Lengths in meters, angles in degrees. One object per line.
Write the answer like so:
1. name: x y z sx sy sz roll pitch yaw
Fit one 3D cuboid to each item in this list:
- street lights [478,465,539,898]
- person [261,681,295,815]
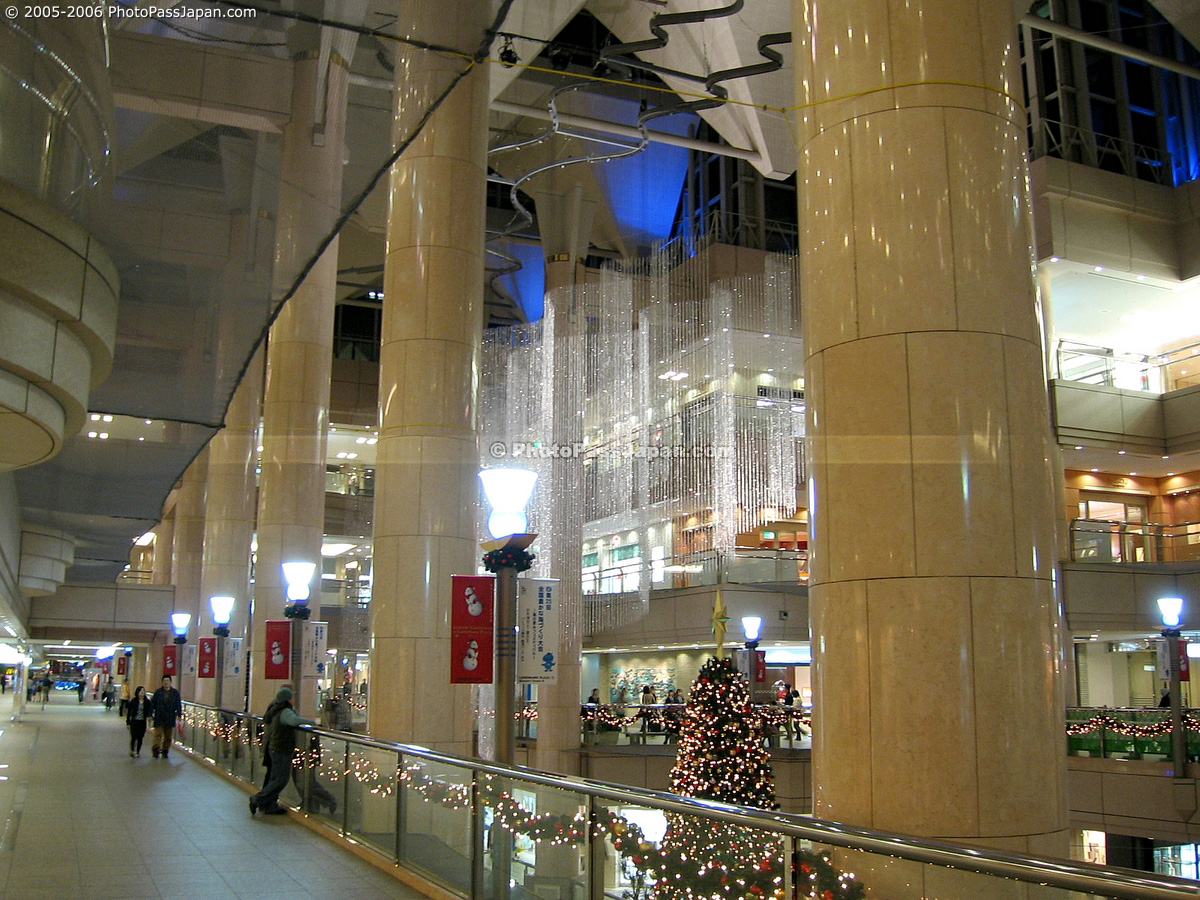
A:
1. street lights: -0.710 1.177 8.244 0.402 2.162 0.804 2 -13 -4
2. person: -3.585 3.296 12.313 0.374 1.387 0.788 5 -14 -17
